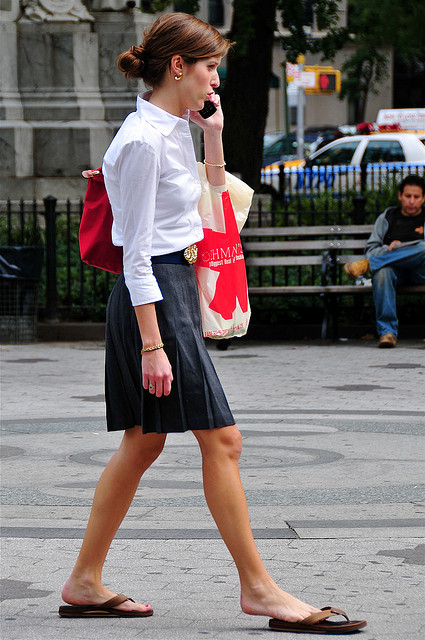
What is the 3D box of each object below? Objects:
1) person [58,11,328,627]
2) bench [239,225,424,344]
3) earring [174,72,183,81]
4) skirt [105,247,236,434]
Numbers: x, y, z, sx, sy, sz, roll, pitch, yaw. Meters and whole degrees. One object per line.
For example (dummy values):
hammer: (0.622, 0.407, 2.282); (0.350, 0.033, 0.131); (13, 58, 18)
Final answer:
person: (-0.108, -0.001, 3.317); (0.728, 1.809, 0.375); (0, 6, 6)
bench: (1.026, -0.370, 11.156); (1.471, 1.156, 1.243); (-1, 5, 1)
earring: (-0.101, -0.723, 3.298); (0.024, 0.020, 0.020); (-1, 5, 0)
skirt: (-0.134, 0.061, 3.324); (0.381, 0.555, 0.295); (-1, 5, -5)
